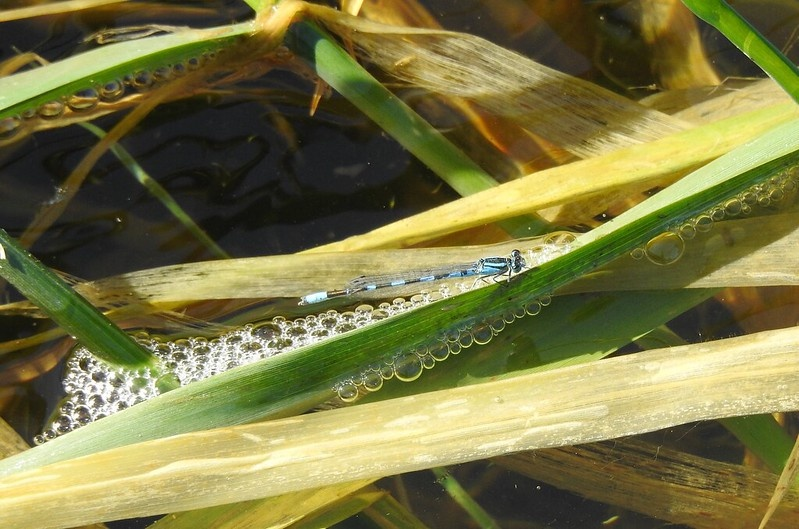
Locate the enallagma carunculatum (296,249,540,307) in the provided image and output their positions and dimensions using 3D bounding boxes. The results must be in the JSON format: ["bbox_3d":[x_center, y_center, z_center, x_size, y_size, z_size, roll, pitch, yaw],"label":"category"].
[{"bbox_3d":[0.045,0.073,3.259,0.937,0.210,0.136,-9,67,-1],"label":"enallagma carunculatum"}]
